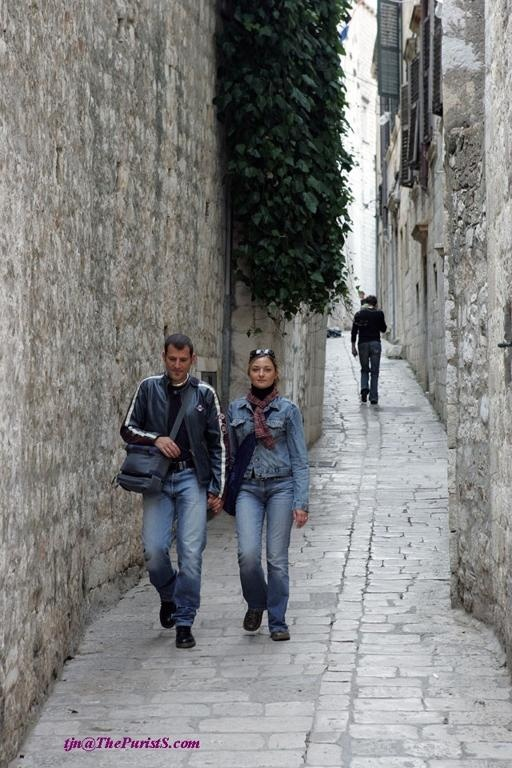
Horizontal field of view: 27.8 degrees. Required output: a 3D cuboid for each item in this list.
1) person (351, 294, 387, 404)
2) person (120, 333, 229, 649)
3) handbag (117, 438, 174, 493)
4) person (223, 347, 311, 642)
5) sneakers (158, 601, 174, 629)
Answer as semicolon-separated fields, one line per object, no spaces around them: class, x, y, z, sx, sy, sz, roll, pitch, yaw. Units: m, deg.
person;1.715;-0.559;16.024;0.508;1.532;1.462;-1;0;7
person;-0.390;0.516;4.900;0.497;1.442;0.363;-2;0;-2
handbag;-0.565;0.374;4.859;0.209;0.231;0.150;12;32;-29
person;0.041;0.538;4.927;0.395;1.306;0.312;-1;0;2
sneakers;-0.439;1.182;5.067;0.057;0.091;0.192;3;12;1
